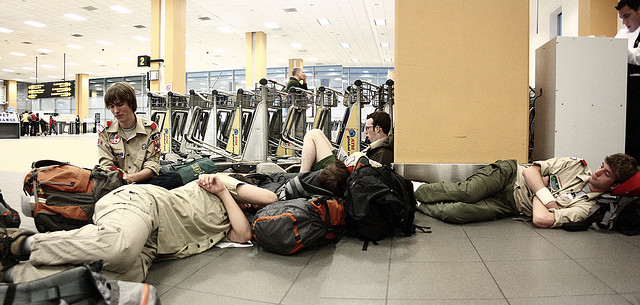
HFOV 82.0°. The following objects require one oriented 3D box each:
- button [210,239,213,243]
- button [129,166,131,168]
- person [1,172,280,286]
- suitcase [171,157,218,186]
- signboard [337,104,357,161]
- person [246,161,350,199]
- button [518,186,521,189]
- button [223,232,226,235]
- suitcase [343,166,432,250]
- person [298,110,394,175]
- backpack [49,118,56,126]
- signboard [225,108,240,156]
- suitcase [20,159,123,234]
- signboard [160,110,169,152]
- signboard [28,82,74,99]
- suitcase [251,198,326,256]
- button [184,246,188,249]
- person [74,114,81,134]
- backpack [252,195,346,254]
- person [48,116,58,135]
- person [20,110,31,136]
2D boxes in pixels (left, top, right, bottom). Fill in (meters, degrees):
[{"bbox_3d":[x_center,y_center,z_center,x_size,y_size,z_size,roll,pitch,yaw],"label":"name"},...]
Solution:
[{"bbox_3d":[-1.261,1.014,4.222,0.028,0.031,0.021,-3,9,-7],"label":"button"},{"bbox_3d":[-2.539,0.191,4.864,0.023,0.034,0.021,6,-6,-14],"label":"button"},{"bbox_3d":[-1.853,0.772,3.958,2.305,0.672,1.118,-10,30,-37],"label":"person"},{"bbox_3d":[-1.845,0.200,5.342,0.572,0.551,0.188,-1,49,-26],"label":"suitcase"},{"bbox_3d":[0.676,-0.517,8.817,0.633,1.476,0.326,2,24,10],"label":"signboard"},{"bbox_3d":[-0.200,0.359,4.580,0.900,0.255,0.615,3,1,5],"label":"person"},{"bbox_3d":[2.620,0.448,4.843,0.042,0.032,0.009,10,9,3],"label":"button"},{"bbox_3d":[-1.134,0.954,4.344,0.012,0.033,0.026,2,10,25],"label":"button"},{"bbox_3d":[0.765,0.628,4.801,1.305,0.895,1.004,-7,2,-41],"label":"suitcase"},{"bbox_3d":[0.254,-0.080,5.673,1.885,0.954,0.885,1,16,10],"label":"person"},{"bbox_3d":[-16.999,-1.924,23.222,0.193,0.409,0.330,4,-2,-20],"label":"backpack"},{"bbox_3d":[-2.424,-0.585,9.955,0.434,1.075,1.756,-5,9,-13],"label":"signboard"},{"bbox_3d":[-2.705,0.525,4.368,1.316,0.727,1.018,-3,-2,29],"label":"suitcase"},{"bbox_3d":[-4.514,-0.564,10.558,0.256,1.037,0.485,-7,11,-23],"label":"signboard"},{"bbox_3d":[-14.681,-3.415,20.011,2.858,0.764,0.649,2,10,22],"label":"signboard"},{"bbox_3d":[-0.337,0.838,4.572,0.856,0.634,1.108,-8,-2,16],"label":"suitcase"},{"bbox_3d":[-1.510,1.054,4.104,0.048,0.037,0.010,-2,9,-2],"label":"button"},{"bbox_3d":[-15.675,-1.869,23.638,0.371,1.187,0.816,-10,12,-38],"label":"person"},{"bbox_3d":[-0.241,0.795,4.256,0.929,0.371,0.665,-1,-3,-39],"label":"backpack"},{"bbox_3d":[-17.277,-1.753,23.529,0.504,1.149,1.551,-9,11,-35],"label":"person"},{"bbox_3d":[-17.071,-1.702,21.260,0.490,1.382,1.085,-10,12,-37],"label":"person"}]
